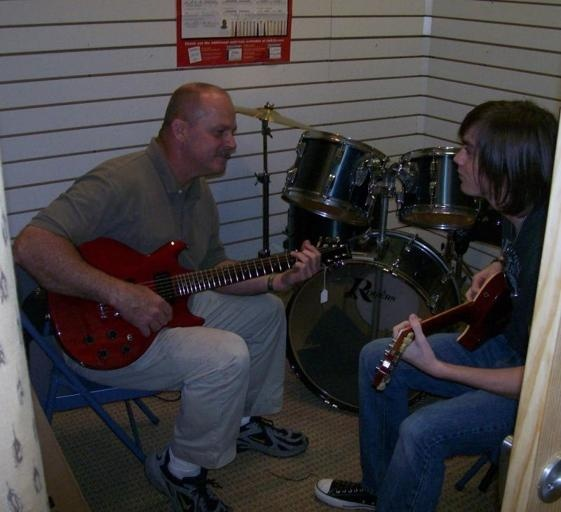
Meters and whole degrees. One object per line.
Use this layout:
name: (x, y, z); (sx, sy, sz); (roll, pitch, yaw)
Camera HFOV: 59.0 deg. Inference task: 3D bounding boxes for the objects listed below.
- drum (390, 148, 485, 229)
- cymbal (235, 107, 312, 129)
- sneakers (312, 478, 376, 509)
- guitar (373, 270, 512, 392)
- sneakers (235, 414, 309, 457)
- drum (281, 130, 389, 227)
drum: (0.782, -0.345, 2.518); (0.367, 0.325, 0.368); (3, -1, -39)
cymbal: (-0.048, -0.812, 2.901); (0.364, 0.076, 0.255); (14, 15, 0)
sneakers: (0.245, 0.906, 1.942); (0.240, 0.101, 0.094); (18, 18, 6)
guitar: (0.496, 0.253, 1.617); (0.626, 0.288, 0.087); (-34, 25, -35)
sneakers: (-0.046, 0.800, 2.249); (0.328, 0.181, 0.141); (1, 2, -5)
drum: (0.233, -0.308, 2.644); (0.515, 0.420, 0.540); (16, -24, 7)
